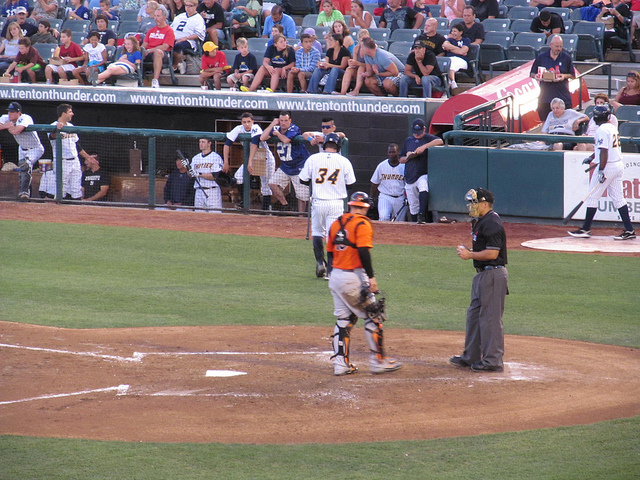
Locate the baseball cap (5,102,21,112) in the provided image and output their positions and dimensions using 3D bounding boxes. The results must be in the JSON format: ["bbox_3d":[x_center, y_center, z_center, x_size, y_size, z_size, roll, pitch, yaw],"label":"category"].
[{"bbox_3d":[-6.373,-2.760,28.218,0.242,0.189,0.297,0,0,-14],"label":"baseball cap"}]

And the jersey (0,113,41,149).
[{"bbox_3d":[-6.341,-2.255,28.530,0.604,0.790,0.611,14,41,39],"label":"jersey"}]

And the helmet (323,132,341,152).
[{"bbox_3d":[0.208,-1.586,21.701,0.267,0.224,0.327,5,2,6],"label":"helmet"}]

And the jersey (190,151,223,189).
[{"bbox_3d":[-2.305,-1.398,27.465,0.895,0.758,0.455,1,4,9],"label":"jersey"}]

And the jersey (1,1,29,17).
[{"bbox_3d":[-7.479,-5.570,32.870,0.549,0.188,0.468,2,40,2],"label":"jersey"}]

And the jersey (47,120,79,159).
[{"bbox_3d":[-5.332,-2.172,28.343,0.421,0.655,0.648,-8,-21,-1],"label":"jersey"}]

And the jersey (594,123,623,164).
[{"bbox_3d":[5.094,-1.703,23.938,0.478,0.687,0.387,0,1,-5],"label":"jersey"}]

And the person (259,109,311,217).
[{"bbox_3d":[-0.734,-1.489,27.157,0.952,2.026,1.526,0,1,-24],"label":"person"}]

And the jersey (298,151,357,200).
[{"bbox_3d":[0.061,-0.967,21.956,1.196,0.851,0.446,-1,7,-29],"label":"jersey"}]

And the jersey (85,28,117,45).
[{"bbox_3d":[-4.946,-4.544,30.570,0.704,0.448,0.209,5,34,3],"label":"jersey"}]

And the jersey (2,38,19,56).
[{"bbox_3d":[-7.091,-4.375,30.982,0.635,0.405,0.162,0,1,30],"label":"jersey"}]

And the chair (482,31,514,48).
[{"bbox_3d":[3.833,-4.166,28.862,0.556,0.481,0.469,2,0,28],"label":"chair"}]

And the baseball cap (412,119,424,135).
[{"bbox_3d":[1.900,-2.196,26.449,0.228,0.147,0.297,6,35,8],"label":"baseball cap"}]

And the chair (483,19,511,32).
[{"bbox_3d":[3.841,-4.594,29.471,0.440,0.423,0.389,2,10,16],"label":"chair"}]

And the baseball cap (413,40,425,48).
[{"bbox_3d":[1.995,-3.930,27.342,0.212,0.214,0.473,0,0,6],"label":"baseball cap"}]

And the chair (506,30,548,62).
[{"bbox_3d":[4.319,-3.971,28.478,0.704,0.588,0.520,10,26,37],"label":"chair"}]

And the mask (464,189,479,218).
[{"bbox_3d":[2.106,-0.503,18.899,0.157,0.384,0.242,0,1,-7],"label":"mask"}]

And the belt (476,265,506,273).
[{"bbox_3d":[2.361,0.396,18.842,0.380,0.108,0.167,0,0,13],"label":"belt"}]

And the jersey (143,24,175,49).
[{"bbox_3d":[-3.567,-4.455,30.007,0.650,0.505,0.241,0,1,-8],"label":"jersey"}]

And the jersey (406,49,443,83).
[{"bbox_3d":[2.152,-3.529,27.555,0.765,0.612,0.561,0,1,-5],"label":"jersey"}]

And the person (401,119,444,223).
[{"bbox_3d":[1.952,-1.343,26.856,0.742,1.996,1.011,0,1,-4],"label":"person"}]

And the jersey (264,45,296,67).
[{"bbox_3d":[-0.847,-3.873,28.744,0.623,0.460,0.230,0,1,-4],"label":"jersey"}]

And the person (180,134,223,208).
[{"bbox_3d":[-2.380,-1.401,27.581,0.769,1.458,0.611,0,1,-5],"label":"person"}]

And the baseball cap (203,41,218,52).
[{"bbox_3d":[-2.414,-4.169,29.444,0.288,0.139,0.208,-3,20,27],"label":"baseball cap"}]

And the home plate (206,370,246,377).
[{"bbox_3d":[-1.312,1.826,18.700,0.508,0.076,0.187,0,0,-5],"label":"home plate"}]

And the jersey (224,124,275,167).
[{"bbox_3d":[-1.409,-1.893,27.247,0.964,0.864,0.515,0,1,-2],"label":"jersey"}]

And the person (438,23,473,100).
[{"bbox_3d":[2.815,-3.673,28.092,0.549,1.571,0.857,0,1,15],"label":"person"}]

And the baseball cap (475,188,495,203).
[{"bbox_3d":[2.289,-0.612,18.907,0.224,0.187,0.273,0,0,9],"label":"baseball cap"}]

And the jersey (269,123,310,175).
[{"bbox_3d":[-0.645,-1.785,26.863,0.730,0.982,0.573,0,1,15],"label":"jersey"}]

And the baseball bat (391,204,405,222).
[{"bbox_3d":[1.638,-0.540,27.488,0.465,0.054,0.076,-41,-17,7],"label":"baseball bat"}]

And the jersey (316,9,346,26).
[{"bbox_3d":[0.220,-4.997,30.623,0.597,0.401,0.676,0,0,-1],"label":"jersey"}]

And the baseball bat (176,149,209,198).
[{"bbox_3d":[-2.514,-1.344,27.528,0.174,1.247,0.173,-50,6,-37],"label":"baseball bat"}]

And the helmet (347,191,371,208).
[{"bbox_3d":[0.552,-0.557,19.020,0.308,0.212,0.264,0,0,-1],"label":"helmet"}]

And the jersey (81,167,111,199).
[{"bbox_3d":[-4.778,-1.178,28.637,0.987,0.649,0.253,2,-6,17],"label":"jersey"}]

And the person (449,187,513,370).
[{"bbox_3d":[2.257,0.542,18.827,0.643,2.502,0.471,0,1,12],"label":"person"}]

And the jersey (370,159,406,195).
[{"bbox_3d":[1.423,-1.252,27.513,1.032,0.684,0.472,2,12,-25],"label":"jersey"}]

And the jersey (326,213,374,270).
[{"bbox_3d":[0.408,0.027,18.896,0.989,0.816,0.545,5,5,44],"label":"jersey"}]

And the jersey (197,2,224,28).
[{"bbox_3d":[-2.488,-5.023,30.550,0.722,0.484,0.220,5,22,12],"label":"jersey"}]

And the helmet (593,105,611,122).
[{"bbox_3d":[4.920,-2.226,23.898,0.334,0.267,0.249,11,-2,-29],"label":"helmet"}]

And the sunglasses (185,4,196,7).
[{"bbox_3d":[-2.857,-5.135,29.918,0.136,0.033,0.128,0,4,-41],"label":"sunglasses"}]
